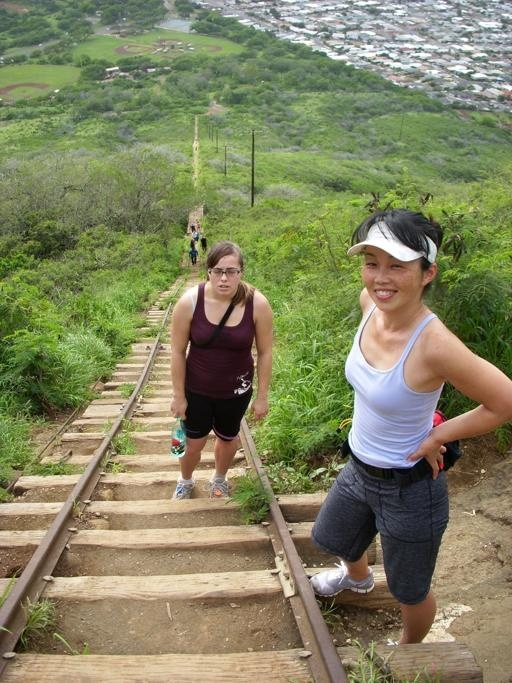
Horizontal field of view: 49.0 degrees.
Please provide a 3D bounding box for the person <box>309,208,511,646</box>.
[{"bbox_3d":[0.524,0.367,2.076,0.366,1.625,0.642,-16,31,-31],"label":"person"}]

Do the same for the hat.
[{"bbox_3d":[0.453,-0.328,1.906,0.305,0.144,0.202,10,26,18],"label":"hat"}]

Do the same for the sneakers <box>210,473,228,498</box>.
[{"bbox_3d":[-0.223,0.918,3.561,0.074,0.076,0.183,-1,64,-4],"label":"sneakers"}]

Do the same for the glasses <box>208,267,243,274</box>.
[{"bbox_3d":[-0.161,-0.366,2.910,0.167,0.040,0.088,1,24,-2],"label":"glasses"}]

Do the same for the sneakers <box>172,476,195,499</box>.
[{"bbox_3d":[-0.462,0.946,3.593,0.080,0.084,0.207,2,24,5],"label":"sneakers"}]

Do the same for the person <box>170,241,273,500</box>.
[{"bbox_3d":[-0.204,0.297,3.258,0.596,1.714,0.345,-1,27,-7],"label":"person"}]

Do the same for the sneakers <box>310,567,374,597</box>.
[{"bbox_3d":[0.373,1.086,2.601,0.320,0.124,0.145,1,14,-3],"label":"sneakers"}]
